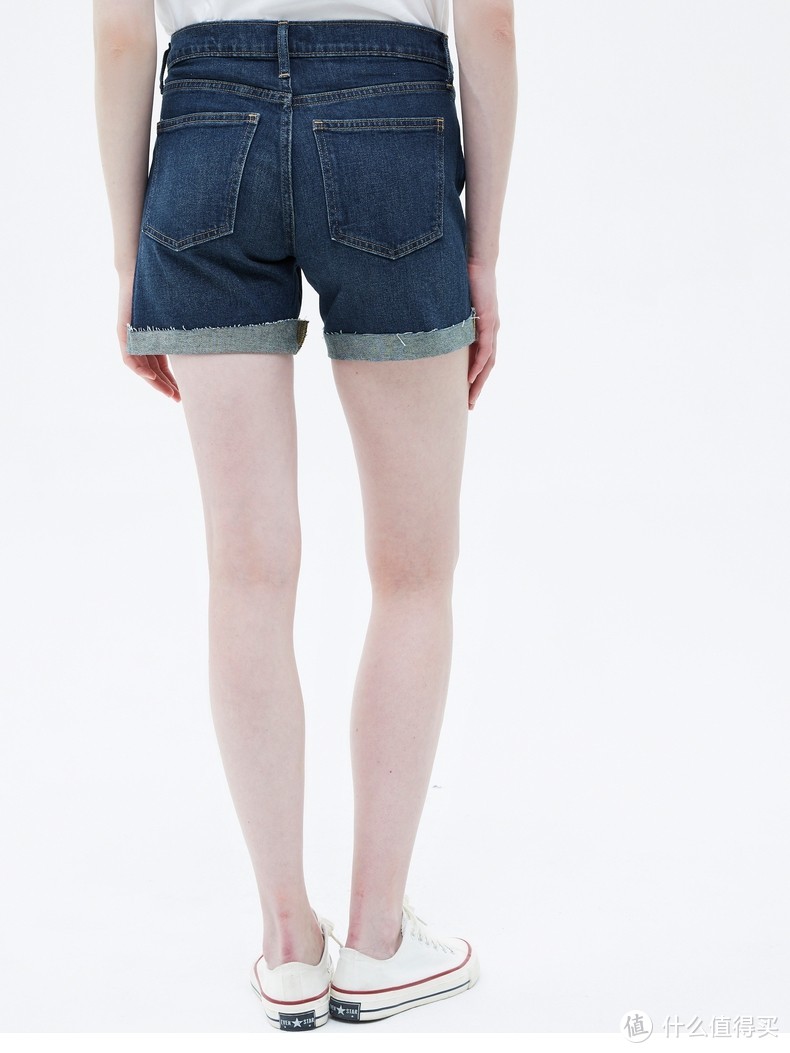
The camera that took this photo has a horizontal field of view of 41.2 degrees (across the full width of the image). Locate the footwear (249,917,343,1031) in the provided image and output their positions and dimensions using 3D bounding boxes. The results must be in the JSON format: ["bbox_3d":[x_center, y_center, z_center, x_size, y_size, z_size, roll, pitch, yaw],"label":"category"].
[{"bbox_3d":[-0.131,0.638,1.545,0.106,0.102,0.249,-6,-3,10],"label":"footwear"}]

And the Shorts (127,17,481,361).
[{"bbox_3d":[-0.139,-0.405,1.295,0.413,0.408,0.143,0,9,13],"label":"Shorts"}]

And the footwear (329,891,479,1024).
[{"bbox_3d":[0.025,0.623,1.527,0.246,0.115,0.101,4,-6,-43],"label":"footwear"}]
